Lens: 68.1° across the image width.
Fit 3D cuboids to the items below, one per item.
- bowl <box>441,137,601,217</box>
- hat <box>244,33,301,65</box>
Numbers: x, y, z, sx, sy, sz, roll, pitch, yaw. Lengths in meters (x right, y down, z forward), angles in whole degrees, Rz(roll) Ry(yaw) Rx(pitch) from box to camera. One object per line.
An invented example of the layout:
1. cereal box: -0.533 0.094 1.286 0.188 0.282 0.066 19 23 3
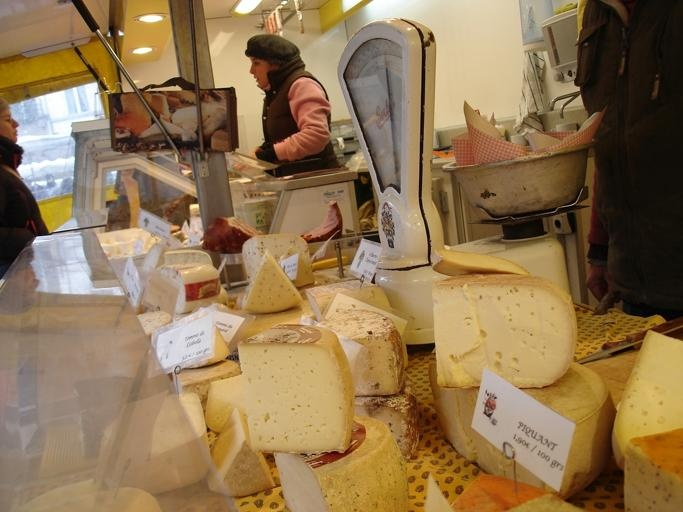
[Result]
1. bowl: 0.485 -0.196 1.361 0.395 0.179 0.417 -9 6 1
2. hat: -0.450 -1.284 3.041 0.256 0.097 0.194 21 32 23
